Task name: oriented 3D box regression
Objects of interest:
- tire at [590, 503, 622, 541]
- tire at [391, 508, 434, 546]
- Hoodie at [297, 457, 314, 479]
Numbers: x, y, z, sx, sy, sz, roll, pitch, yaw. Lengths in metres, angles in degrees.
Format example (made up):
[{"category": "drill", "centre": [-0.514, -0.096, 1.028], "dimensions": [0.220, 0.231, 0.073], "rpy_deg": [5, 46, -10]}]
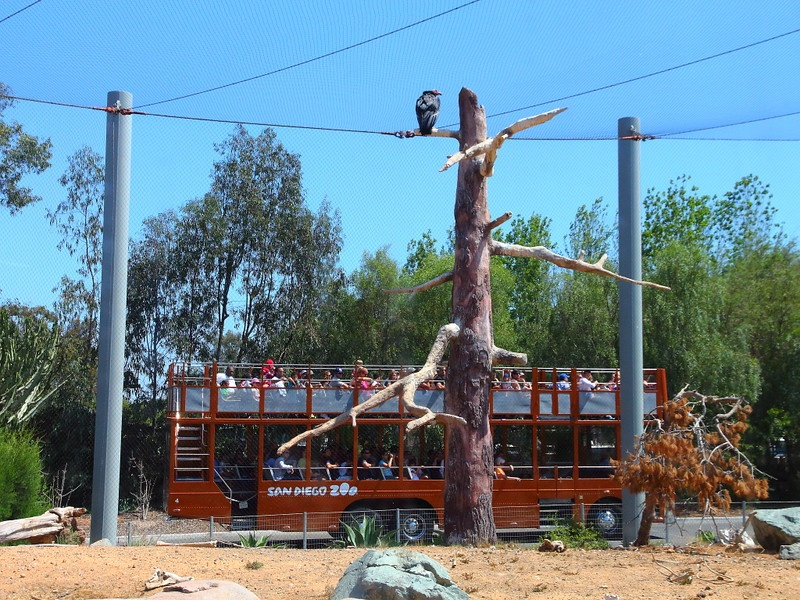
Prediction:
[{"category": "tire", "centre": [5.416, 5.886, 29.371], "dimensions": [0.763, 1.117, 0.352], "rpy_deg": [1, 1, -4]}, {"category": "tire", "centre": [0.258, 5.848, 28.535], "dimensions": [0.673, 0.961, 0.261], "rpy_deg": [2, -10, -13]}, {"category": "Hoodie", "centre": [-2.489, 4.429, 29.156], "dimensions": [0.230, 0.557, 0.424], "rpy_deg": [-21, -11, 15]}]
